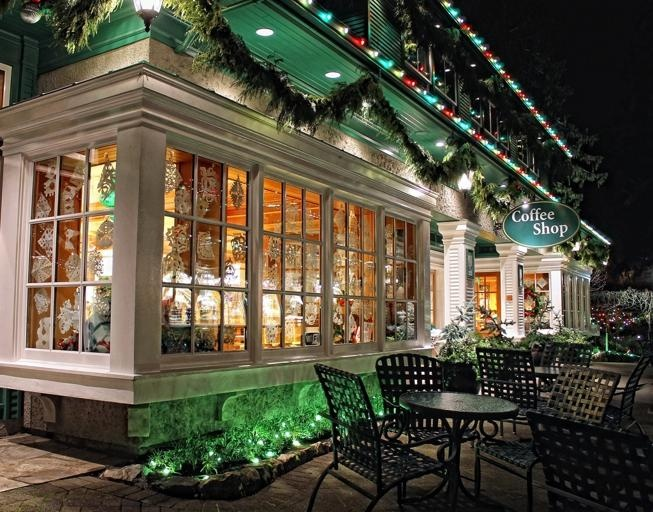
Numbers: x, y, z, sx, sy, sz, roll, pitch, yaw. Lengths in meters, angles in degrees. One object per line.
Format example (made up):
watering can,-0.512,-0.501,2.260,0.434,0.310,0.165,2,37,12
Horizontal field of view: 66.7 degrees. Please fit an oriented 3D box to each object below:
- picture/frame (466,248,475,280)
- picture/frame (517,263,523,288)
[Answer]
picture/frame,3.245,0.176,11.298,0.053,0.738,0.692,0,-3,29
picture/frame,5.694,0.582,14.693,0.049,0.726,0.687,-1,-4,23
